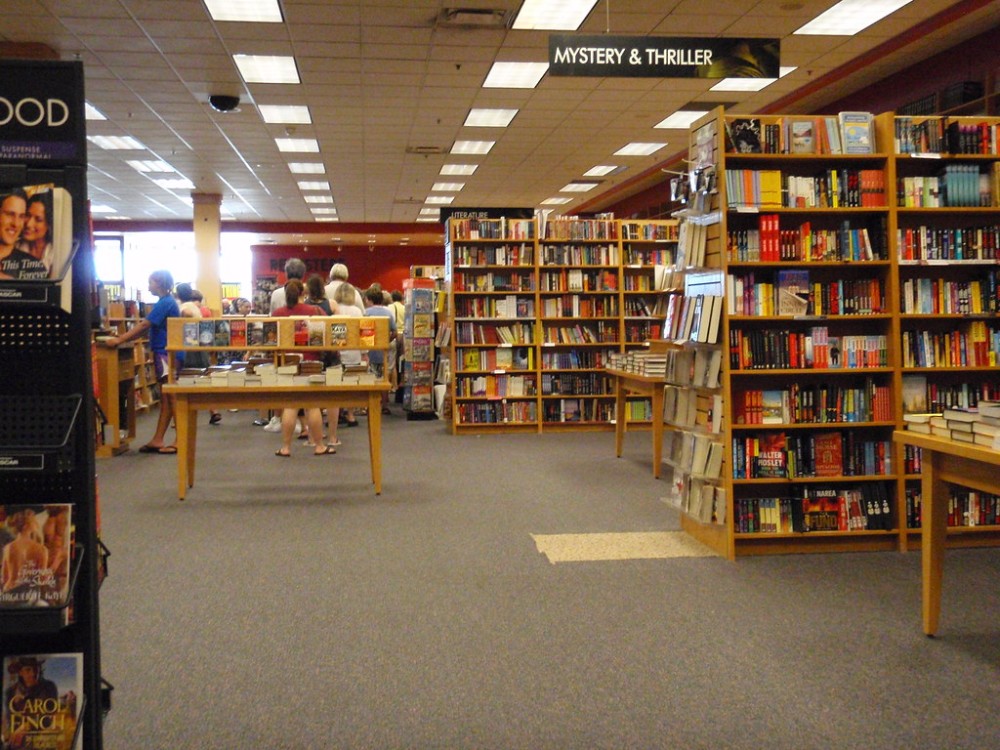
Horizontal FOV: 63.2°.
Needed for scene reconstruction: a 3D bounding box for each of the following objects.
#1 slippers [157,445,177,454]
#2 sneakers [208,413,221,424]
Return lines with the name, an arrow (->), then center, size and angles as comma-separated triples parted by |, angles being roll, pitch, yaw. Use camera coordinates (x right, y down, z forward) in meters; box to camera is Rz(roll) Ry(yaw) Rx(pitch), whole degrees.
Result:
slippers -> -3.515, 0.807, 8.625 | 0.157, 0.100, 0.292 | 1, -2, -11
sneakers -> -3.862, 0.602, 11.004 | 0.092, 0.113, 0.265 | 0, 2, -11
